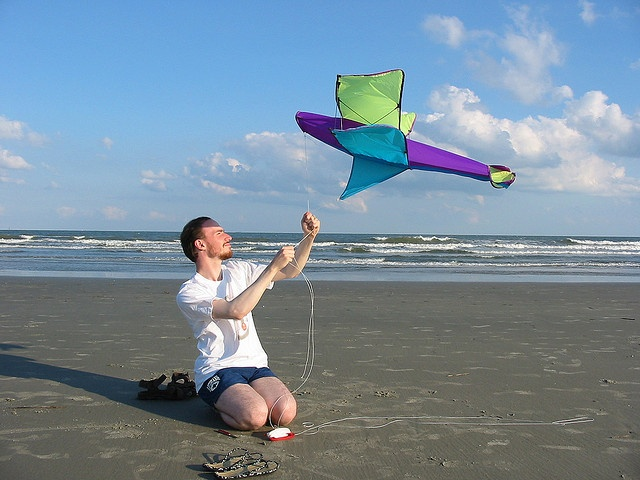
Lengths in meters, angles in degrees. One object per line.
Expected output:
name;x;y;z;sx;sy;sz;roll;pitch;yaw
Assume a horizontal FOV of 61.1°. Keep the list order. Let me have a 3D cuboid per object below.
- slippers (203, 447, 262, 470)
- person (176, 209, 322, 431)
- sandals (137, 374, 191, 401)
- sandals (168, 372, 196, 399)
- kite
slippers;-0.747;1.781;4.385;0.328;0.065;0.150;-9;10;-25
person;-0.719;0.700;4.975;1.186;1.959;0.980;-1;8;-13
sandals;-1.571;1.502;5.492;0.453;0.147;0.293;0;-1;-5
sandals;-1.435;1.495;5.516;0.225;0.243;0.221;8;36;-27
kite;0.779;-1.026;5.324;1.983;1.757;0.464;12;-36;5
